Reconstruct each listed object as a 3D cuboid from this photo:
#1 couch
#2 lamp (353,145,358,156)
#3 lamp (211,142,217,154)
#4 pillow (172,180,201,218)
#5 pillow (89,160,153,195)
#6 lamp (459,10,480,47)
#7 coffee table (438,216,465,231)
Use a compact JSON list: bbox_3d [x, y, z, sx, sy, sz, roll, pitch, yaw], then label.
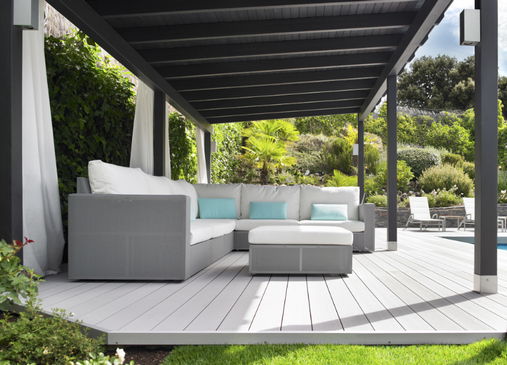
[{"bbox_3d":[-0.347,0.407,5.563,4.104,1.239,2.196,-5,9,-34],"label":"couch"},{"bbox_3d":[2.088,-0.666,8.322,0.106,0.214,0.187,2,7,16],"label":"lamp"},{"bbox_3d":[-0.851,-0.772,8.862,0.106,0.246,0.220,0,0,15],"label":"lamp"},{"bbox_3d":[-0.937,0.162,5.904,0.436,0.505,0.667,2,1,-1],"label":"pillow"},{"bbox_3d":[-1.446,-0.049,4.435,0.223,0.237,0.714,16,6,13],"label":"pillow"},{"bbox_3d":[1.955,-1.408,3.732,0.168,0.315,0.153,0,7,-1],"label":"lamp"},{"bbox_3d":[5.055,0.955,10.470,0.546,0.404,0.545,-2,-2,17],"label":"coffee table"}]
